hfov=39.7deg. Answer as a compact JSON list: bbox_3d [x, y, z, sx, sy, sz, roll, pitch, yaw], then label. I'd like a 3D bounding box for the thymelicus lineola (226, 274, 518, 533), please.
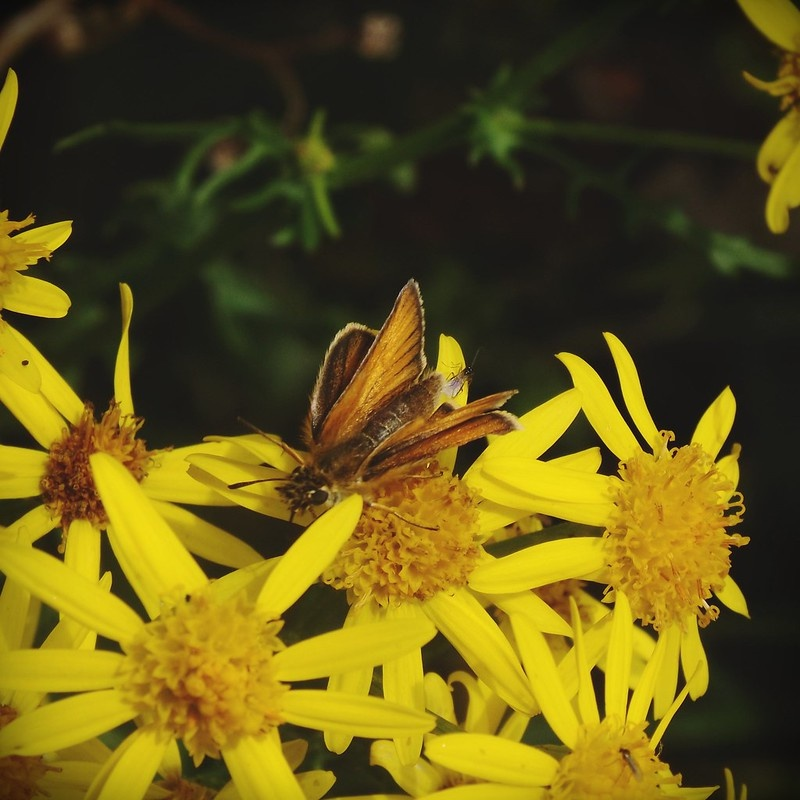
[{"bbox_3d":[-0.004,0.019,0.600,0.136,0.125,0.069,-31,-57,3],"label":"thymelicus lineola"}]

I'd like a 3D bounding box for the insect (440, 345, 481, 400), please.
[{"bbox_3d":[0.036,-0.015,0.615,0.013,0.028,0.009,11,-43,38],"label":"insect"}]
